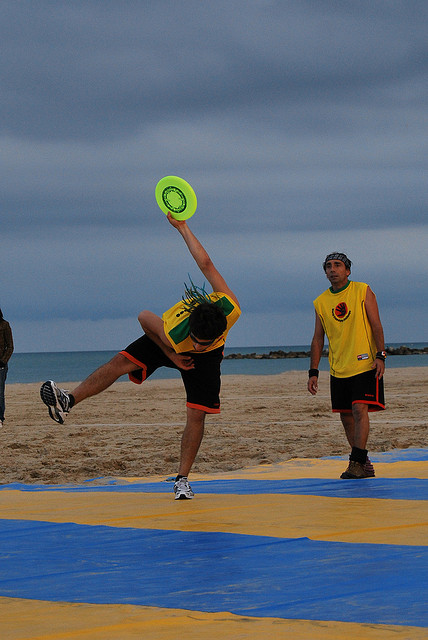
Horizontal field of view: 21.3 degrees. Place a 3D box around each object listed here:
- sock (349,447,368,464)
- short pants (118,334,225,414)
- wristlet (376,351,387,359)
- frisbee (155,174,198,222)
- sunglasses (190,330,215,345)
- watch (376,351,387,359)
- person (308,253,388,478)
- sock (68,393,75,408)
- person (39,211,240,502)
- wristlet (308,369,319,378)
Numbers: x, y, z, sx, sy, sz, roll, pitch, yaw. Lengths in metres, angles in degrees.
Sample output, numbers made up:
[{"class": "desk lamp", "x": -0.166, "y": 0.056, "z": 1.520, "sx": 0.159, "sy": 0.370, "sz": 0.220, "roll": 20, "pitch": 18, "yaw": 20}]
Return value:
[{"class": "sock", "x": 0.875, "y": 0.825, "z": 7.027, "sx": 0.108, "sy": 0.073, "sz": 0.104, "roll": 20, "pitch": -2, "yaw": -20}, {"class": "short pants", "x": -0.263, "y": 0.302, "z": 6.483, "sx": 0.599, "sy": 0.445, "sz": 0.422, "roll": 0, "pitch": -3, "yaw": 6}, {"class": "wristlet", "x": 1.029, "y": 0.210, "z": 7.063, "sx": 0.054, "sy": 0.028, "sz": 0.041, "roll": 3, "pitch": -9, "yaw": 23}, {"class": "frisbee", "x": -0.265, "y": -0.729, "z": 6.826, "sx": 0.310, "sy": 0.280, "sz": 0.052, "roll": 18, "pitch": 35, "yaw": 29}, {"class": "sunglasses", "x": -0.085, "y": 0.088, "z": 6.076, "sx": 0.130, "sy": 0.077, "sz": 0.107, "roll": 0, "pitch": -3, "yaw": 0}, {"class": "watch", "x": 1.040, "y": 0.211, "z": 7.075, "sx": 0.053, "sy": 0.034, "sz": 0.065, "roll": 6, "pitch": -10, "yaw": 3}, {"class": "person", "x": 0.836, "y": 0.272, "z": 7.283, "sx": 0.423, "sy": 1.426, "sz": 0.674, "roll": 1, "pitch": -3, "yaw": -17}, {"class": "sock", "x": -0.849, "y": 0.463, "z": 6.577, "sx": 0.031, "sy": 0.082, "sz": 0.059, "roll": -1, "pitch": 0, "yaw": 1}, {"class": "person", "x": -0.314, "y": 0.167, "z": 6.263, "sx": 0.821, "sy": 1.632, "sz": 1.030, "roll": 1, "pitch": -3, "yaw": -20}, {"class": "wristlet", "x": 0.639, "y": 0.347, "z": 7.531, "sx": 0.054, "sy": 0.041, "sz": 0.058, "roll": 1, "pitch": -13, "yaw": 4}]
